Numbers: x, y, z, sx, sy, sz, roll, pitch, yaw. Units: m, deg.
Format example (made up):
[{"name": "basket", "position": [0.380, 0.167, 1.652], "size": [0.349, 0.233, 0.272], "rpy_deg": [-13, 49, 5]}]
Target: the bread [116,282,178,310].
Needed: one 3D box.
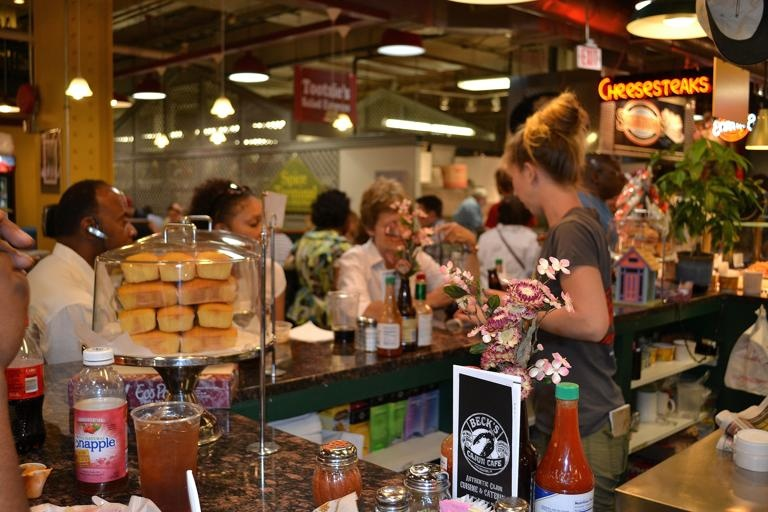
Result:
[{"name": "bread", "position": [-0.950, 0.157, 2.739], "size": [0.233, 0.110, 0.040], "rpy_deg": [-2, 0, 15]}]

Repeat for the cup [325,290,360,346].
[{"name": "cup", "position": [-0.241, 0.357, 3.947], "size": [0.180, 0.286, 0.282], "rpy_deg": [-2, 0, -5]}]

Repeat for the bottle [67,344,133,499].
[{"name": "bottle", "position": [-1.032, 0.591, 2.472], "size": [0.184, 0.558, 0.193], "rpy_deg": [-2, 1, 0]}]

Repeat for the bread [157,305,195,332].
[{"name": "bread", "position": [-0.833, 0.237, 2.715], "size": [0.114, 0.088, 0.110], "rpy_deg": [1, 1, 34]}]

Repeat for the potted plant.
[{"name": "potted plant", "position": [2.377, -0.349, 5.485], "size": [1.157, 1.527, 1.161], "rpy_deg": [2, 8, 28]}]

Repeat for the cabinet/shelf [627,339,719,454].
[{"name": "cabinet/shelf", "position": [1.974, 0.947, 4.757], "size": [0.349, 0.552, 1.177], "rpy_deg": [-2, 0, 42]}]

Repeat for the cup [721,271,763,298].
[{"name": "cup", "position": [2.673, 0.202, 5.122], "size": [0.226, 0.145, 0.233], "rpy_deg": [2, 7, 0]}]

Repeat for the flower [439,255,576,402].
[{"name": "flower", "position": [0.371, 0.258, 2.486], "size": [0.486, 0.614, 0.421], "rpy_deg": [7, -6, -30]}]

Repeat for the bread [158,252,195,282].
[{"name": "bread", "position": [-0.842, 0.038, 2.739], "size": [0.115, 0.073, 0.114], "rpy_deg": [-4, 6, -38]}]

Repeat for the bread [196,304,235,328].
[{"name": "bread", "position": [-0.692, 0.241, 2.755], "size": [0.103, 0.069, 0.110], "rpy_deg": [0, 3, -6]}]

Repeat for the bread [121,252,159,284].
[{"name": "bread", "position": [-0.983, 0.043, 2.741], "size": [0.120, 0.092, 0.124], "rpy_deg": [2, 4, 17]}]

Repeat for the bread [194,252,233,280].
[{"name": "bread", "position": [-0.700, 0.045, 2.771], "size": [0.115, 0.083, 0.113], "rpy_deg": [1, 7, -5]}]

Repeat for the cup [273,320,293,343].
[{"name": "cup", "position": [-0.564, 0.413, 3.755], "size": [0.107, 0.078, 0.108], "rpy_deg": [0, 0, 0]}]

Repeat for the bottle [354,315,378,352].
[{"name": "bottle", "position": [-0.099, 0.426, 3.758], "size": [0.162, 0.160, 0.163], "rpy_deg": [2, 3, 5]}]

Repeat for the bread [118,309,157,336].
[{"name": "bread", "position": [-0.991, 0.260, 2.732], "size": [0.114, 0.079, 0.112], "rpy_deg": [-3, 4, -30]}]
